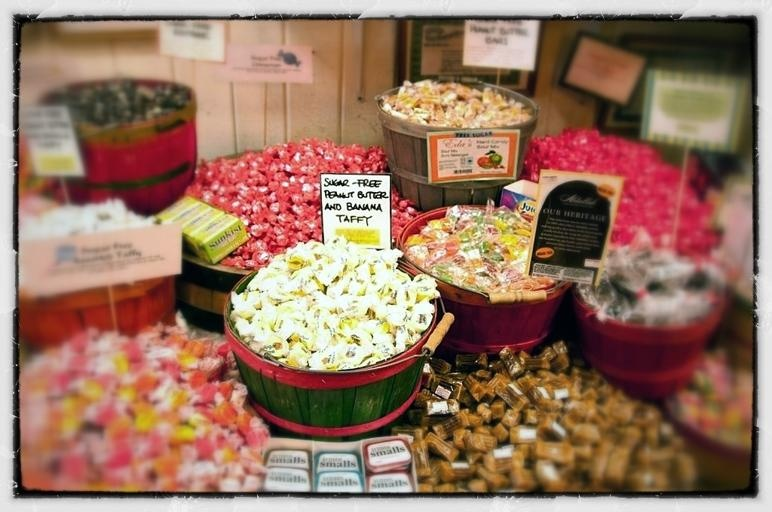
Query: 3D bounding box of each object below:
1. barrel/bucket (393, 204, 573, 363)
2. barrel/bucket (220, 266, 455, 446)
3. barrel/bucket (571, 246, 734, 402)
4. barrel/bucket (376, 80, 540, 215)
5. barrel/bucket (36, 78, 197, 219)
[{"bbox_3d":[0.467,0.140,2.607,0.564,0.345,0.540,2,33,-1],"label":"barrel/bucket"},{"bbox_3d":[-0.229,0.482,2.658,1.007,0.470,0.992,-1,19,0],"label":"barrel/bucket"},{"bbox_3d":[1.108,0.245,2.517,0.579,0.440,0.608,1,22,0],"label":"barrel/bucket"},{"bbox_3d":[0.334,-0.511,2.773,0.656,0.510,0.648,0,31,0],"label":"barrel/bucket"},{"bbox_3d":[-1.158,-0.422,2.455,0.616,0.500,0.662,7,27,-4],"label":"barrel/bucket"}]
